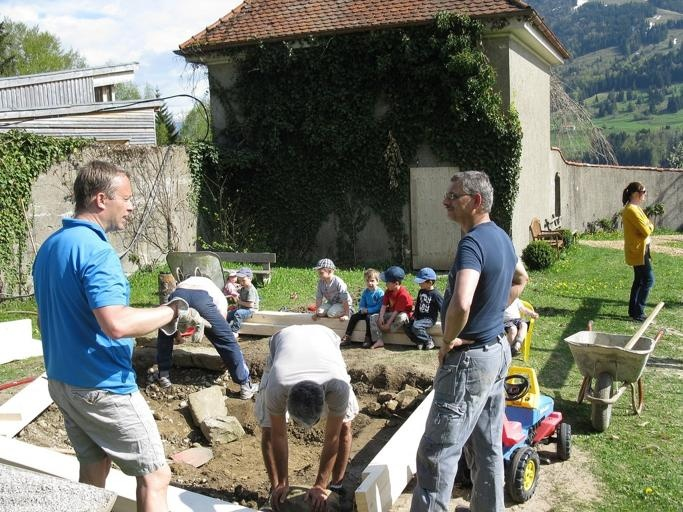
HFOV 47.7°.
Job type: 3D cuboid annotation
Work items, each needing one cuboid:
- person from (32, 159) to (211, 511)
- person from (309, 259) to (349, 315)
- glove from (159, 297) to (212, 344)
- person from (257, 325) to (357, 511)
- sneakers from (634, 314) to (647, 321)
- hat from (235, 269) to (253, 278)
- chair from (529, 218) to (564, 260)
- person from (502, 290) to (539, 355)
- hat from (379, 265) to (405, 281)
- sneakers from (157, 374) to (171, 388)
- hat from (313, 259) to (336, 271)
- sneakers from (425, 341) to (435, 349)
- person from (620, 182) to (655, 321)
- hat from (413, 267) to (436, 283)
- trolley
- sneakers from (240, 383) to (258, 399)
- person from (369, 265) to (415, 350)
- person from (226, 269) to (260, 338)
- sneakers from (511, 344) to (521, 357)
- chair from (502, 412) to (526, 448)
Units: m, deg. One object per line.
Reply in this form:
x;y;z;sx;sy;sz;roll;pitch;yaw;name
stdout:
-2.134;0.709;6.921;1.205;3.112;0.440;1;7;7;person
-0.145;0.472;11.490;0.565;0.907;0.538;2;12;19;person
-1.461;0.599;7.333;0.456;0.230;0.512;3;-24;2;glove
-0.316;1.443;7.531;0.801;1.937;1.431;2;-30;-3;person
4.642;0.951;11.969;0.186;0.103;0.086;-8;18;-8;sneakers
-1.451;0.254;11.654;0.179;0.105;0.134;5;-2;-20;hat
4.872;-0.483;18.343;0.819;1.426;0.999;0;6;19;chair
2.258;0.918;9.850;0.587;0.627;0.882;1;5;7;person
0.711;0.290;10.894;0.263;0.172;0.217;2;25;8;hat
-2.275;1.601;9.900;0.107;0.217;0.078;-10;-6;-12;sneakers
-0.244;0.123;11.343;0.235;0.158;0.190;4;1;5;hat
1.230;1.235;10.679;0.052;0.083;0.168;3;12;18;sneakers
4.595;-0.088;12.004;0.469;2.133;0.623;3;8;21;person
1.143;0.262;10.520;0.267;0.176;0.215;2;3;-1;hat
3.151;1.428;9.045;0.893;1.048;1.049;6;9;38;trolley
-1.174;1.702;9.831;0.119;0.167;0.328;4;8;25;sneakers
0.699;0.737;10.925;0.649;1.163;0.630;-2;-1;-7;person
-1.565;0.670;11.731;0.468;0.990;0.585;12;11;30;person
2.284;1.265;10.128;0.144;0.086;0.214;2;10;17;sneakers
1.760;1.802;7.906;0.273;0.322;0.269;0;17;34;chair
